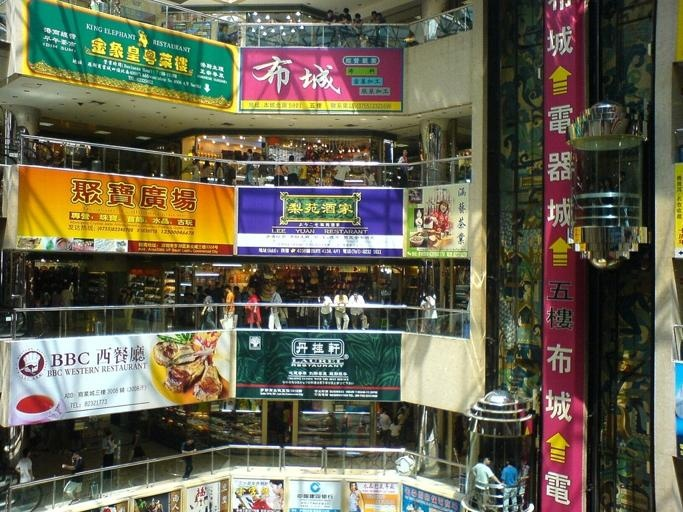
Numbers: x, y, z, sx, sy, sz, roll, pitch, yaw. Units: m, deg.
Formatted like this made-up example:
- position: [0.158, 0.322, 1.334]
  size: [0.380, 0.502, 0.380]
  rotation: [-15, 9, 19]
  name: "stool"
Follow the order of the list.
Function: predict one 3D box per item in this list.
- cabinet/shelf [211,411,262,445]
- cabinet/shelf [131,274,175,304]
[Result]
- position: [-4.415, 7.210, 31.430]
  size: [2.416, 1.389, 1.687]
  rotation: [2, 5, 7]
  name: "cabinet/shelf"
- position: [-7.884, 1.457, 31.957]
  size: [1.036, 1.024, 0.370]
  rotation: [3, -14, -1]
  name: "cabinet/shelf"
